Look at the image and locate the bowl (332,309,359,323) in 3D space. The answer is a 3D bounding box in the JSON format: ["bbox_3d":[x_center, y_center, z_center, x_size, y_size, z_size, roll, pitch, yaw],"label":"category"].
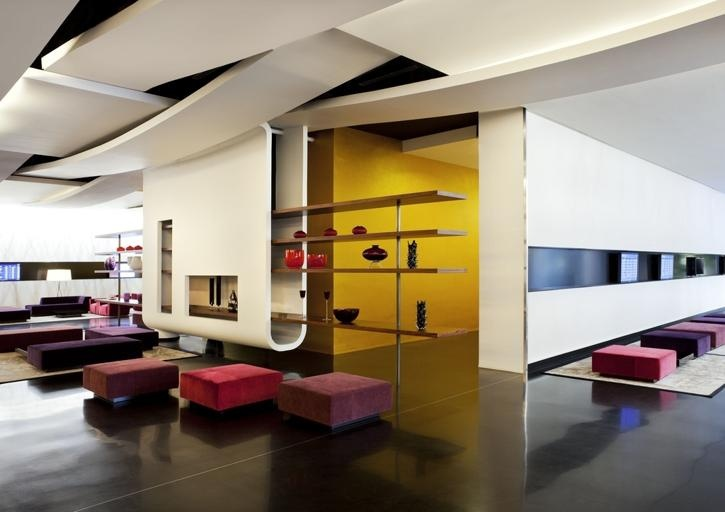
[{"bbox_3d":[-0.184,0.824,6.963,0.245,0.125,0.243,-1,-10,0],"label":"bowl"}]

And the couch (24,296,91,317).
[{"bbox_3d":[-9.127,1.555,15.481,1.430,0.484,1.154,-1,3,-5],"label":"couch"}]

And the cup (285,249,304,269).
[{"bbox_3d":[-1.002,0.053,7.507,0.291,0.255,0.267,0,-5,0],"label":"cup"}]

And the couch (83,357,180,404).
[{"bbox_3d":[-2.906,1.435,6.335,0.828,0.370,0.918,7,12,37],"label":"couch"}]

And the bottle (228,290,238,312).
[{"bbox_3d":[-2.224,0.777,8.724,0.142,0.341,0.505,-1,3,-16],"label":"bottle"}]

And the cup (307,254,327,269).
[{"bbox_3d":[-0.667,0.085,7.397,0.225,0.149,0.215,0,-4,0],"label":"cup"}]

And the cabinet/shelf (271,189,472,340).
[{"bbox_3d":[0.006,0.146,8.271,0.521,1.590,3.078,2,-5,-42],"label":"cabinet/shelf"}]

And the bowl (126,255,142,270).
[{"bbox_3d":[-4.894,0.155,11.107,0.315,0.248,0.334,-1,-7,0],"label":"bowl"}]

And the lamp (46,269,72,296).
[{"bbox_3d":[-9.928,0.900,16.715,0.709,0.884,0.924,-2,3,-31],"label":"lamp"}]
